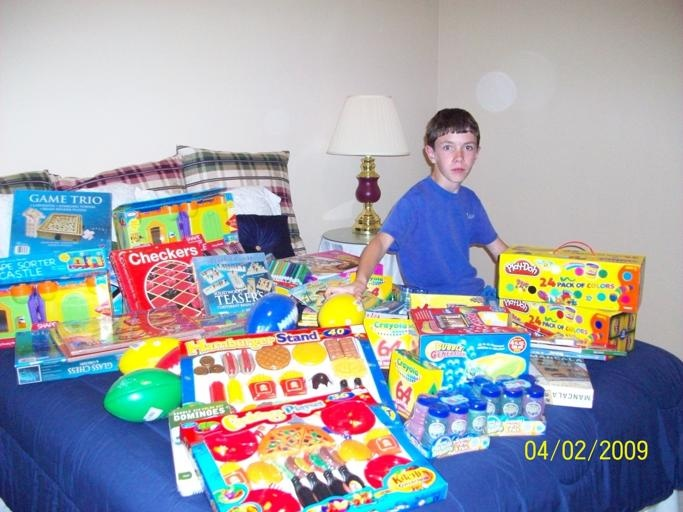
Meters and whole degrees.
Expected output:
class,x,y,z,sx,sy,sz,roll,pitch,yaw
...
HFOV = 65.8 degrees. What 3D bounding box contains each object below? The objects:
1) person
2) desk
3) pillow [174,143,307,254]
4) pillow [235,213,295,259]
class,x,y,z,sx,sy,sz,roll,pitch,yaw
person,0.460,-0.178,2.237,1.193,0.812,0.367,-5,14,-34
desk,0.081,-0.046,2.855,0.361,0.331,0.348,-13,24,-38
pillow,-0.458,-0.304,2.575,0.629,0.574,0.181,-5,-15,-34
pillow,-0.344,-0.095,2.372,0.232,0.204,0.073,-8,-15,-36
